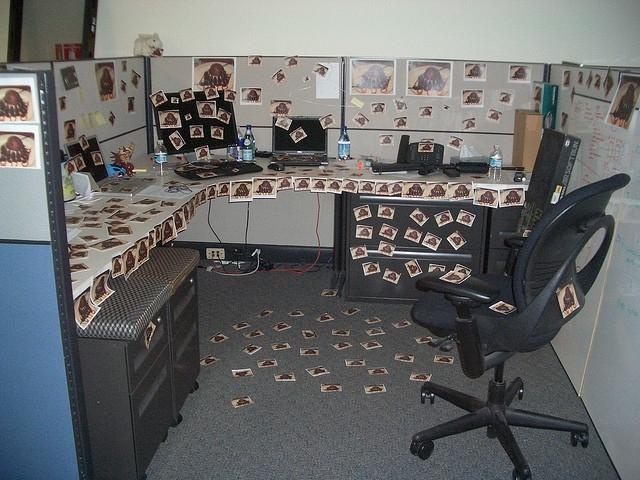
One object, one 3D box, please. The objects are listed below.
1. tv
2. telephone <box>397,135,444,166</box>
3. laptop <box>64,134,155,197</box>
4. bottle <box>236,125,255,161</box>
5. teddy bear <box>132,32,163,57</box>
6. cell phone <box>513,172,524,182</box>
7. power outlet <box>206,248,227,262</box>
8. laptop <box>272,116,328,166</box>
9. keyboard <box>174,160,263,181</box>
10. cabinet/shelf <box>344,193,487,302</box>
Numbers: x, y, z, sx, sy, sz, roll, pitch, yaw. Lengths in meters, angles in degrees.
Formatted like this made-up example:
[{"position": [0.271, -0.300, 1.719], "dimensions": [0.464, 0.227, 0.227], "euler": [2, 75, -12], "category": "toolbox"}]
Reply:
[{"position": [-0.890, -0.815, 3.277], "dimensions": [0.540, 0.372, 0.051], "euler": [-13, 8, -26], "category": "tv"}, {"position": [0.707, -0.629, 3.301], "dimensions": [0.339, 0.230, 0.132], "euler": [0, 13, -8], "category": "telephone"}, {"position": [-1.248, -0.430, 2.810], "dimensions": [0.343, 0.261, 0.441], "euler": [4, 20, -1], "category": "laptop"}, {"position": [-0.571, -0.720, 3.472], "dimensions": [0.152, 0.373, 0.145], "euler": [5, 32, -3], "category": "bottle"}, {"position": [-1.296, -1.475, 3.546], "dimensions": [0.241, 0.162, 0.162], "euler": [27, 40, 23], "category": "teddy bear"}, {"position": [1.321, -0.420, 3.072], "dimensions": [0.050, 0.021, 0.091], "euler": [2, 24, 22], "category": "cell phone"}, {"position": [-0.904, 0.125, 4.024], "dimensions": [0.119, 0.082, 0.016], "euler": [1, 21, -1], "category": "power outlet"}, {"position": [-0.160, -0.755, 3.465], "dimensions": [0.515, 0.381, 0.369], "euler": [-2, 20, -6], "category": "laptop"}, {"position": [-0.729, -0.478, 3.125], "dimensions": [0.308, 0.033, 0.279], "euler": [-16, 25, -36], "category": "keyboard"}, {"position": [0.590, 0.031, 3.510], "dimensions": [1.161, 1.043, 0.659], "euler": [2, 8, 5], "category": "cabinet/shelf"}]
